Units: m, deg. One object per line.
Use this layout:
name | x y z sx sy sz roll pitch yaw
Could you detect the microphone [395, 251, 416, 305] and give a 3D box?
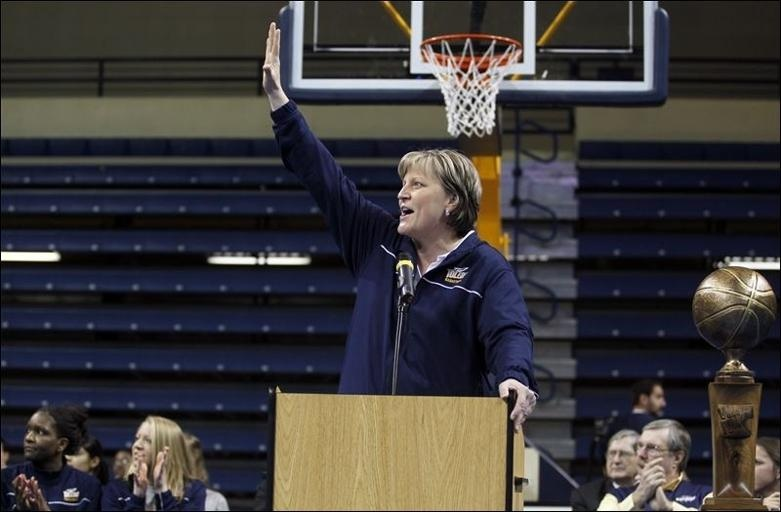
microphone | 0.122 0.175 20.325 0.152 0.425 0.186 -2 -8 0
